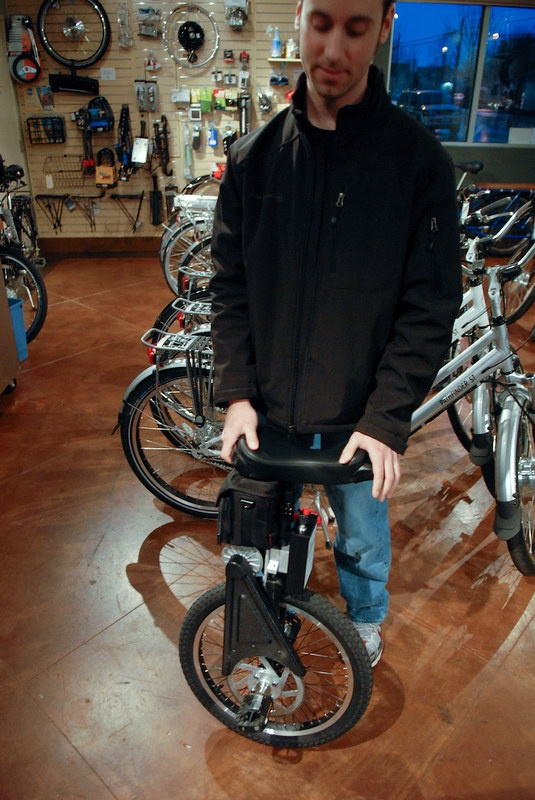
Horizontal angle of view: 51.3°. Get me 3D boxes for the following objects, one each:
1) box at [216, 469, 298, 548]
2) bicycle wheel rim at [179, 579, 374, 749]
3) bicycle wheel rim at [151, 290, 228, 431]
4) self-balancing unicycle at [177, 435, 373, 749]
[{"bbox_3d":[-0.023,0.224,1.090,0.156,0.181,0.096,2,25,3],"label":"box"},{"bbox_3d":[0.024,0.668,1.372,0.401,0.403,0.205,22,35,9],"label":"bicycle wheel rim"},{"bbox_3d":[-0.373,-0.194,2.501,0.516,0.628,0.172,6,5,40],"label":"bicycle wheel rim"},{"bbox_3d":[0.027,0.456,1.212,0.432,0.769,0.292,7,18,12],"label":"self-balancing unicycle"}]
